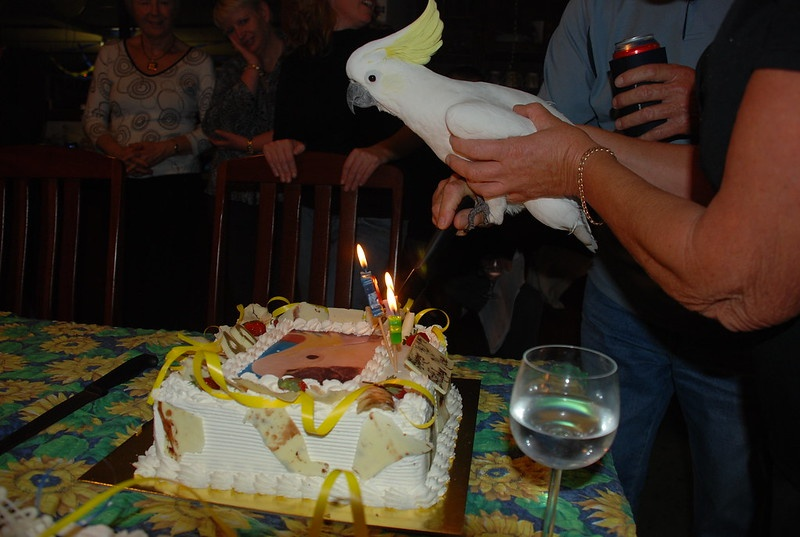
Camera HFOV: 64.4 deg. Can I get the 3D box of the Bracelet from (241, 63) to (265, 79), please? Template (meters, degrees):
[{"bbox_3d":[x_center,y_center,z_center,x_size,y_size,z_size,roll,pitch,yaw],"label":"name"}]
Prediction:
[{"bbox_3d":[-0.733,-1.003,3.206,0.077,0.022,0.074,-23,54,-28],"label":"Bracelet"}]

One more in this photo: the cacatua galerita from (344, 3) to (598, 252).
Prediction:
[{"bbox_3d":[0.188,-0.552,2.218,0.710,0.892,0.653,4,14,1],"label":"cacatua galerita"}]

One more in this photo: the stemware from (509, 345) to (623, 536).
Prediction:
[{"bbox_3d":[0.356,0.323,1.439,0.205,0.463,0.213,7,11,8],"label":"stemware"}]

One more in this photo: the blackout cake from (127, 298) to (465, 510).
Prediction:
[{"bbox_3d":[-0.245,0.296,1.921,0.872,0.419,0.688,0,9,2],"label":"blackout cake"}]

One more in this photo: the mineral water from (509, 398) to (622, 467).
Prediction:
[{"bbox_3d":[0.346,0.359,1.351,0.221,0.161,0.063,0,14,10],"label":"mineral water"}]
